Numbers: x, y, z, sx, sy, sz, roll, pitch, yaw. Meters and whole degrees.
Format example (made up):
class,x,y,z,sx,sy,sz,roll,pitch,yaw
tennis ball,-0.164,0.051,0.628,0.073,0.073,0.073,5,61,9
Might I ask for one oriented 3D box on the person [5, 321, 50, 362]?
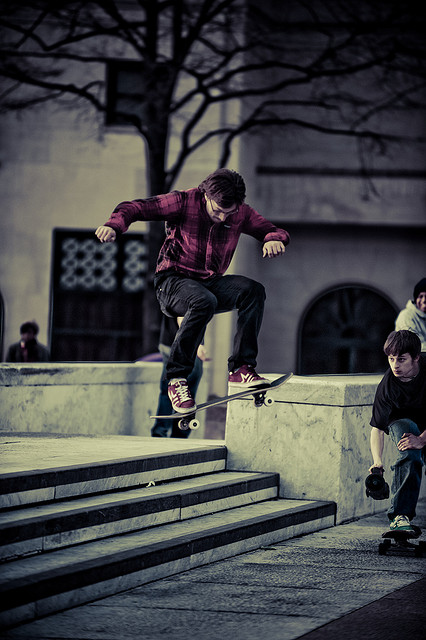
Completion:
class,x,y,z,sx,sy,sz,roll,pitch,yaw
person,-2.365,0.258,11.188,0.527,0.803,0.265,1,-15,-2

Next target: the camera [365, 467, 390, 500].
class,x,y,z,sx,sy,sz,roll,pitch,yaw
camera,0.951,0.934,5.139,0.135,0.180,0.182,-7,-7,5

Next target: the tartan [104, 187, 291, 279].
class,x,y,z,sx,sy,sz,roll,pitch,yaw
tartan,-0.246,-0.917,8.898,2.088,0.845,0.731,1,5,-22
